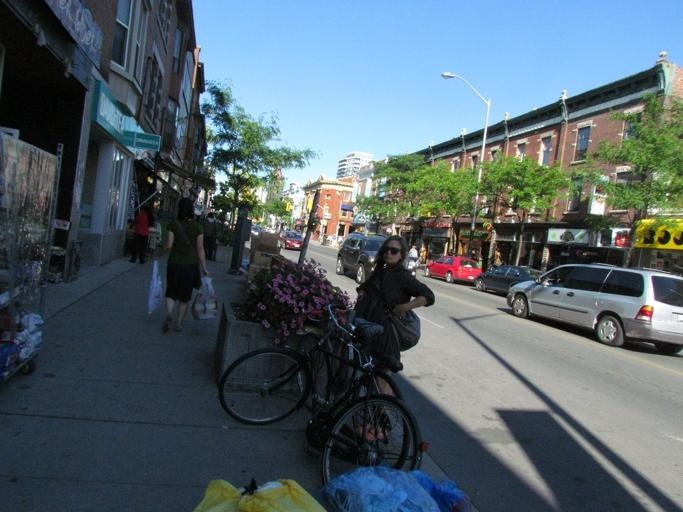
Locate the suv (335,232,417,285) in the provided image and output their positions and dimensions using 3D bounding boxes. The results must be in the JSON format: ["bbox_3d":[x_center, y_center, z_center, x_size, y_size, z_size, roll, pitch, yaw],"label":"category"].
[{"bbox_3d":[1.086,0.065,19.146,1.696,1.807,3.953,2,2,-20],"label":"suv"}]

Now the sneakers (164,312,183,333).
[{"bbox_3d":[-2.771,1.123,7.390,0.200,0.279,0.627,3,-3,-3],"label":"sneakers"}]

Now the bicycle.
[{"bbox_3d":[-0.165,1.163,4.107,2.002,1.376,0.760,11,6,35],"label":"bicycle"}]

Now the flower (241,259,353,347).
[{"bbox_3d":[-0.620,0.428,5.532,1.035,0.897,1.067,8,-24,34],"label":"flower"}]

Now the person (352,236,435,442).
[{"bbox_3d":[0.443,0.662,4.634,0.815,1.822,0.533,17,25,28],"label":"person"}]

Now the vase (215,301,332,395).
[{"bbox_3d":[-1.010,1.012,5.488,0.960,0.675,0.991,11,1,-11],"label":"vase"}]
